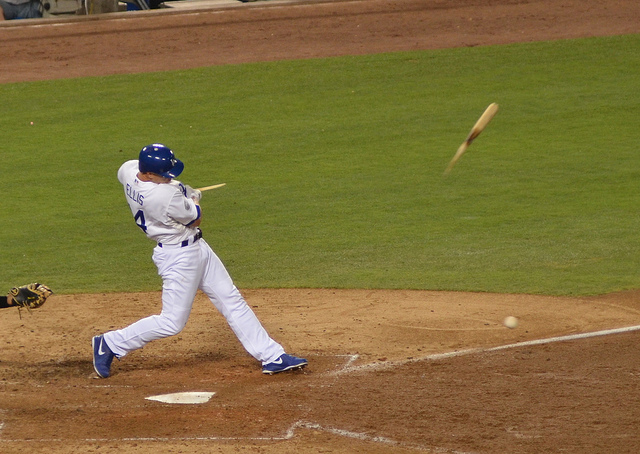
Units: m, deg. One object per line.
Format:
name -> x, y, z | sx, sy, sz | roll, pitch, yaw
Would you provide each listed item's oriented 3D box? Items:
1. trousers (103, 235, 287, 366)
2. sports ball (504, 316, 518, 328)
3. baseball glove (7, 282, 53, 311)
trousers -> -1.815, 1.148, 26.281 | 2.516, 2.009, 0.493 | -2, 16, -1
sports ball -> 2.956, 1.537, 27.315 | 0.199, 0.157, 0.130 | 2, 15, 14
baseball glove -> -4.283, 1.096, 26.467 | 0.622, 0.232, 0.393 | -9, 6, -7
